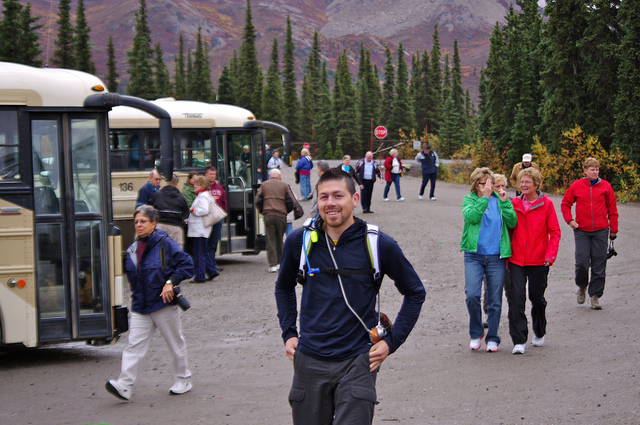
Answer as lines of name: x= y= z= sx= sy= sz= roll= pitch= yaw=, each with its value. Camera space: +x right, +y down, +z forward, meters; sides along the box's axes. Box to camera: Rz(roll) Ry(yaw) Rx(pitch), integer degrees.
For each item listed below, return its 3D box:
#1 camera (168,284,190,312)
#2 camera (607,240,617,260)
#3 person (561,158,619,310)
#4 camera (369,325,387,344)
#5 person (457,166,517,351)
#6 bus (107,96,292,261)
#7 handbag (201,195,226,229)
camera: x=-2.024 y=1.265 z=10.898 sx=0.245 sy=0.410 sz=0.204 roll=-33 pitch=5 yaw=-25
camera: x=5.456 y=0.717 z=14.163 sx=0.230 sy=0.252 sz=0.161 roll=-13 pitch=20 yaw=-39
person: x=5.030 y=0.372 z=13.979 sx=0.948 sy=2.737 sz=0.855 roll=0 pitch=7 yaw=21
camera: x=0.621 y=1.302 z=8.030 sx=0.140 sy=0.196 sz=0.189 roll=12 pitch=0 yaw=33
person: x=2.681 y=0.755 z=12.001 sx=0.828 sy=2.890 sz=0.658 roll=-2 pitch=7 yaw=0
bus: x=-3.099 y=-0.868 z=20.191 sx=5.215 sy=3.457 sz=3.097 roll=5 pitch=4 yaw=15
handbag: x=-2.446 y=-0.031 z=17.246 sx=0.548 sy=0.655 sz=0.253 roll=-20 pitch=5 yaw=9
